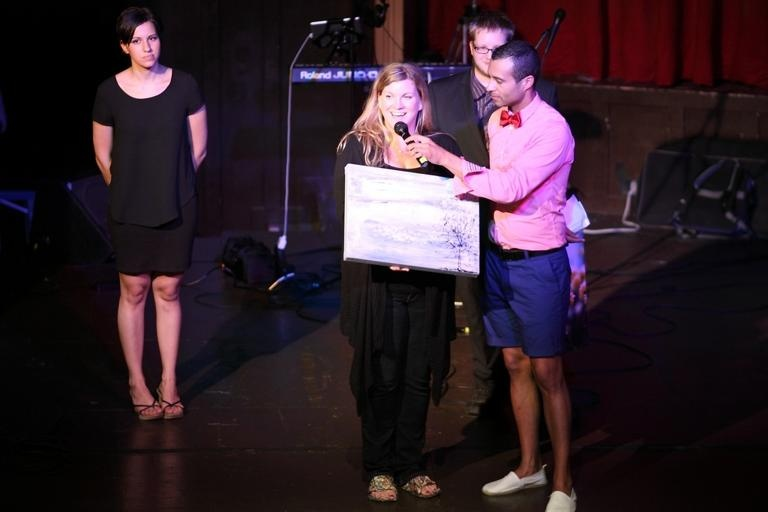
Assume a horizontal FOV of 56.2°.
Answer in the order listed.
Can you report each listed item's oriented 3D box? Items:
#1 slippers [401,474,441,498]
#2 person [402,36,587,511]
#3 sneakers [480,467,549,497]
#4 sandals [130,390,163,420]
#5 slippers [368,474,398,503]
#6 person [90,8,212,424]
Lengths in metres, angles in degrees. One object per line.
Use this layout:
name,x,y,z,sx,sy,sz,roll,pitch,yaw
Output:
slippers,0.186,1.225,3.879,0.107,0.077,0.177,-10,8,-43
person,0.711,0.101,3.787,0.977,2.302,0.689,12,22,23
sneakers,0.717,1.233,3.983,0.360,0.140,0.136,-7,11,-14
sandals,-1.496,0.947,4.533,0.149,0.093,0.314,-2,5,-28
slippers,-0.010,1.244,3.829,0.113,0.056,0.149,0,15,-4
person,-1.455,-0.236,4.438,0.650,2.407,0.731,2,20,-4
